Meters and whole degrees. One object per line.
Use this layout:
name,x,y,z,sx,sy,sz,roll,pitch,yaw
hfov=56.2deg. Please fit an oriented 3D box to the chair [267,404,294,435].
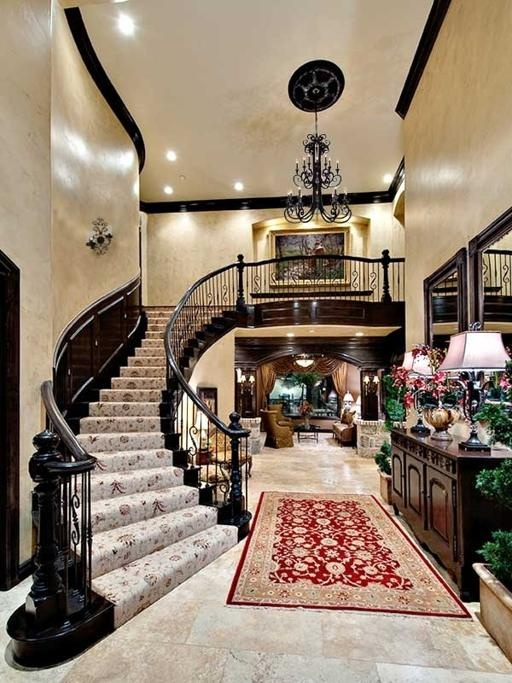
chair,0.494,1.743,10.498,0.715,0.831,0.694,-1,0,5

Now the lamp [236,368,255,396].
lamp,-0.256,0.888,10.957,0.423,0.577,0.318,1,-4,-4

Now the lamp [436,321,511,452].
lamp,1.466,0.291,3.186,0.405,0.867,0.689,0,-4,12

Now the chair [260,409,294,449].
chair,0.474,1.916,10.457,0.750,0.858,0.843,-1,-4,6

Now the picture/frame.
picture/frame,1.187,-1.749,9.959,1.395,1.051,0.053,0,-3,5

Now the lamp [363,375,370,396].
lamp,2.304,0.889,9.973,0.137,0.385,0.262,0,-4,12

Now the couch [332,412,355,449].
couch,2.021,1.979,11.036,0.490,0.660,1.519,1,-4,9

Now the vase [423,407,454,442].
vase,1.507,0.681,3.953,0.219,0.262,0.227,1,-15,0
